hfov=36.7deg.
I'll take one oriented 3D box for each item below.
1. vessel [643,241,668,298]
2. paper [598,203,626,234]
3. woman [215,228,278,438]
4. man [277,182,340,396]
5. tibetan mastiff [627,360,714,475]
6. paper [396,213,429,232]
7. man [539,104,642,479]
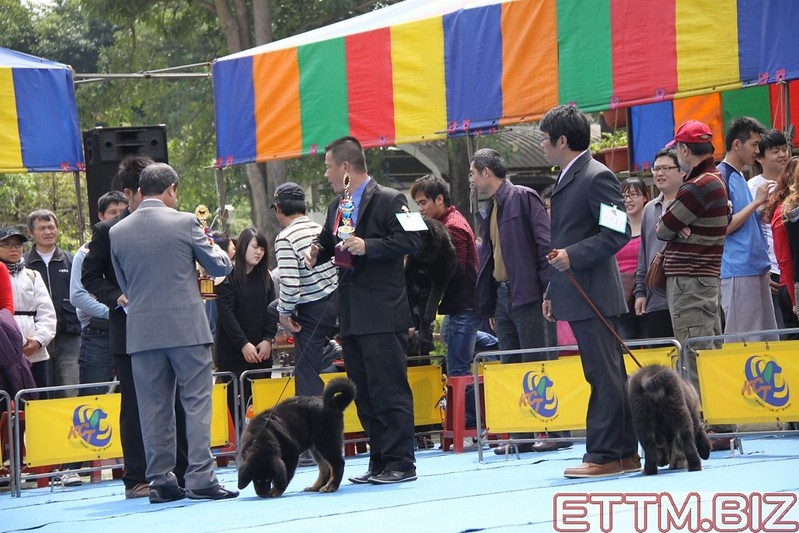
[{"bbox_3d":[2.867,0.019,12.676,0.262,0.575,0.630,7,4,28],"label":"vessel"},{"bbox_3d":[2.122,-0.453,11.273,0.321,0.290,0.107,-1,-6,-30],"label":"paper"},{"bbox_3d":[-1.710,0.871,13.788,0.770,2.586,0.757,-2,8,-28],"label":"woman"},{"bbox_3d":[-0.965,0.499,13.205,0.858,2.729,0.881,-3,19,-6],"label":"man"},{"bbox_3d":[2.607,1.396,11.218,0.467,0.728,1.405,-9,-26,18],"label":"tibetan mastiff"},{"bbox_3d":[0.184,-0.434,11.882,0.330,0.306,0.027,1,-37,-46],"label":"paper"},{"bbox_3d":[1.939,0.204,11.419,0.848,3.532,0.552,-5,-5,6],"label":"man"}]
